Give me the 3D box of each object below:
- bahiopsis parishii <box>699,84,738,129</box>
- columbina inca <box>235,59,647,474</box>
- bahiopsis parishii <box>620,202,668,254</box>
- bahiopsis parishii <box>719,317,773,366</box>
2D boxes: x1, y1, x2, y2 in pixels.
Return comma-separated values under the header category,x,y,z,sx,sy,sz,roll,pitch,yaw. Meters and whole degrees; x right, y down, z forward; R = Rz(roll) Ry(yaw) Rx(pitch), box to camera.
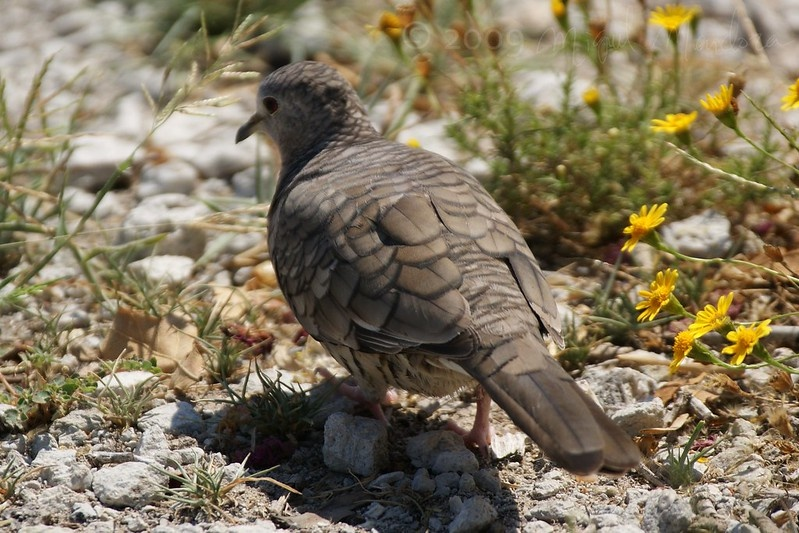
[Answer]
category,x,y,z,sx,sy,sz,roll,pitch,yaw
bahiopsis parishii,1.787,-0.894,4.933,0.221,0.143,0.337,-33,12,19
columbina inca,-0.026,-0.068,4.841,1.308,2.954,1.669,-18,-56,-40
bahiopsis parishii,1.351,-0.211,4.887,0.276,0.365,0.319,-6,-15,17
bahiopsis parishii,1.790,0.388,4.563,0.266,0.217,0.324,-26,-25,15
